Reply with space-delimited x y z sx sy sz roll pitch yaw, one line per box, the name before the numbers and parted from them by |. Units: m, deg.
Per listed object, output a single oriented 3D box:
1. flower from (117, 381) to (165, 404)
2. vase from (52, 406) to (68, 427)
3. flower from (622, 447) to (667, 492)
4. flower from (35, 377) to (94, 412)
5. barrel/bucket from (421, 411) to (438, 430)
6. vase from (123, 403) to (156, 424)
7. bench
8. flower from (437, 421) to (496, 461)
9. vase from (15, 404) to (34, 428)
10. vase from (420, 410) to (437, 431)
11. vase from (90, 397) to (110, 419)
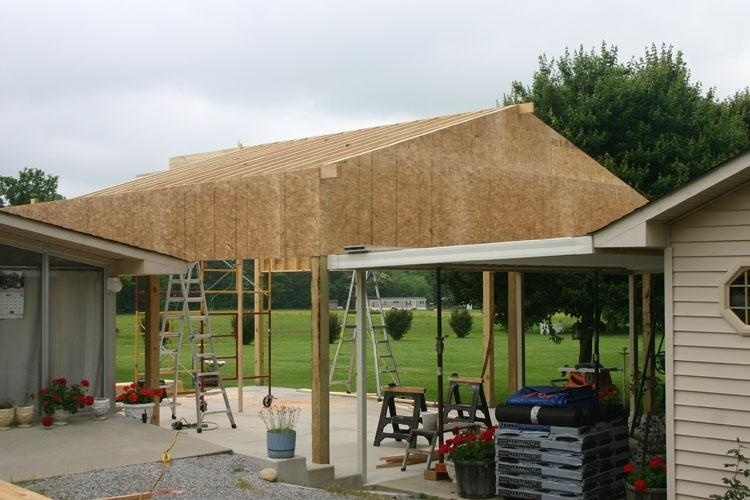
flower | -4.736 2.963 18.591 0.633 0.491 0.651 -1 3 39
vase | -6.062 3.261 17.524 0.306 0.312 0.293 0 -2 -9
flower | 4.527 3.754 15.215 0.594 0.412 0.653 -10 2 2
flower | -6.102 2.876 17.830 0.969 0.697 0.798 1 -7 -25
barrel/bucket | 1.082 3.434 18.146 0.305 0.230 0.299 1 2 0
vase | -4.775 3.318 18.352 0.605 0.400 0.555 1 -7 -21
bench | 1.457 3.898 17.988 0.680 0.771 2.071 -4 -3 41
flower | 1.629 3.565 16.481 0.882 0.390 0.790 -9 -8 34
vase | -6.773 3.209 17.487 0.344 0.402 0.437 1 -7 -22
vase | 1.051 3.448 18.155 0.312 0.236 0.309 -1 2 -20
vase | -5.498 3.182 18.138 0.332 0.413 0.538 0 -7 -12
